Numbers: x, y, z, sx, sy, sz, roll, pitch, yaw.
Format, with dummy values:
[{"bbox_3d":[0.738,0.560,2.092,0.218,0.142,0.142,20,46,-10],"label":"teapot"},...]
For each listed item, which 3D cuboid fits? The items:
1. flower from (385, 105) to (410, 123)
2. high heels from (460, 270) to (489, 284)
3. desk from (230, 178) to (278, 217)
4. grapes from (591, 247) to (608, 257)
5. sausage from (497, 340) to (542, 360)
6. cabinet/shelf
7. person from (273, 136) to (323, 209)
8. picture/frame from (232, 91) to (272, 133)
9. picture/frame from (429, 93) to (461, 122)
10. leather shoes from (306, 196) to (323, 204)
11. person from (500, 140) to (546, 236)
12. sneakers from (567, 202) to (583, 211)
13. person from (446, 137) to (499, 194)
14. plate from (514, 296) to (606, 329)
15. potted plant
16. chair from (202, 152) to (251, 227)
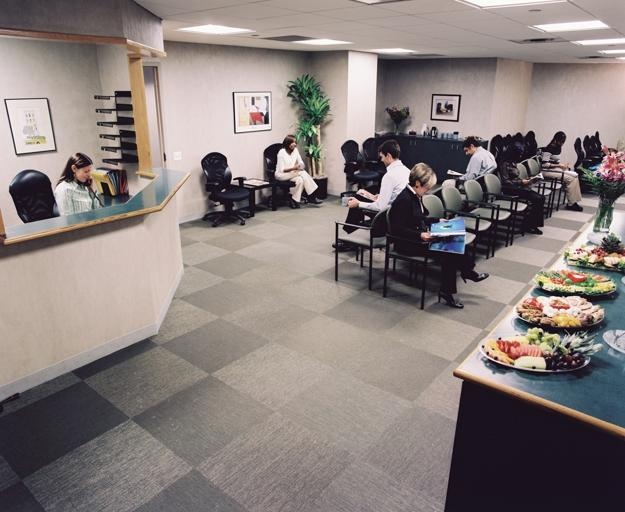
[{"bbox_3d":[2.313,-3.813,11.999,0.566,0.407,0.550,16,28,32],"label":"flower"},{"bbox_3d":[2.025,0.265,5.615,0.330,0.151,0.187,-6,18,7],"label":"high heels"},{"bbox_3d":[-1.205,-1.168,8.745,0.760,0.768,0.766,19,30,36],"label":"desk"},{"bbox_3d":[2.368,-0.038,3.725,0.086,0.048,0.088,-13,17,-32],"label":"grapes"},{"bbox_3d":[1.197,0.540,2.609,0.119,0.065,0.135,-3,7,-37],"label":"sausage"},{"bbox_3d":[2.781,-2.270,11.282,2.414,1.273,0.597,-1,3,-19],"label":"cabinet/shelf"},{"bbox_3d":[-0.321,-1.743,9.203,1.037,1.435,0.499,-14,24,-37],"label":"person"},{"bbox_3d":[-1.190,-2.839,8.910,0.943,0.753,0.027,8,16,28],"label":"picture/frame"},{"bbox_3d":[3.405,-3.820,11.500,0.689,0.630,0.047,18,24,41],"label":"picture/frame"},{"bbox_3d":[0.036,-1.212,9.611,0.343,0.162,0.142,3,17,9],"label":"leather shoes"},{"bbox_3d":[3.650,-1.174,7.864,0.749,1.505,0.670,4,3,32],"label":"person"},{"bbox_3d":[5.294,-1.014,9.143,0.158,0.145,0.311,-19,21,-38],"label":"sneakers"},{"bbox_3d":[2.647,-1.577,7.633,0.850,0.839,0.592,-5,19,20],"label":"person"},{"bbox_3d":[1.586,0.367,2.976,0.298,0.066,0.313,-2,16,9],"label":"plate"},{"bbox_3d":[0.025,-2.457,9.727,0.911,2.576,0.777,1,-6,-16],"label":"potted plant"},{"bbox_3d":[-1.620,-1.294,8.422,0.756,1.292,0.829,-4,10,20],"label":"chair"}]
